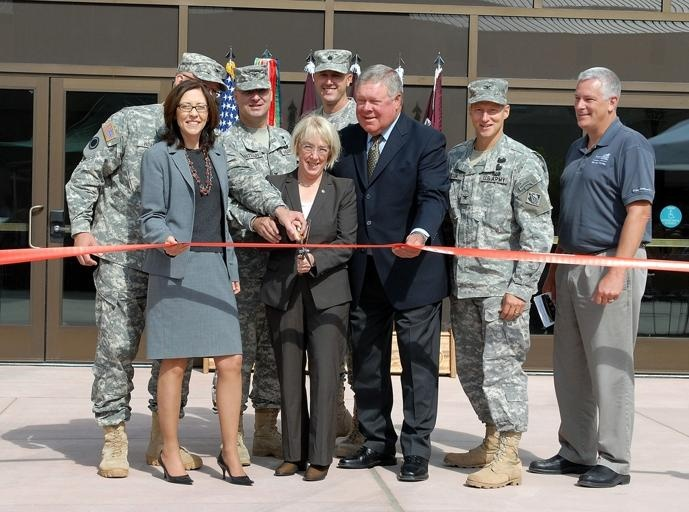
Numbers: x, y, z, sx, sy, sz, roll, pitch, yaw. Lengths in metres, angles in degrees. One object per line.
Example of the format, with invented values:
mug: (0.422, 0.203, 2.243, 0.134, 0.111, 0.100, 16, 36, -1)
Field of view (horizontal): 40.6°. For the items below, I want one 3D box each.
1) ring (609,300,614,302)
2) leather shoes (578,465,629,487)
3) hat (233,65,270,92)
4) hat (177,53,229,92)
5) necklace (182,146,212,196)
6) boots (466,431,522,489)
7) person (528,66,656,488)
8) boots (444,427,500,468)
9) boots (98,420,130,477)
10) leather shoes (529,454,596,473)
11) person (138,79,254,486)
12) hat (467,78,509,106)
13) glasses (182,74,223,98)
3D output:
ring: (1.630, 0.279, 5.719, 0.022, 0.009, 0.027, 1, 7, 6)
leather shoes: (1.582, 1.357, 5.734, 0.338, 0.089, 0.118, 7, -15, -24)
hat: (-0.602, -1.156, 6.069, 0.321, 0.113, 0.424, -2, 14, -7)
hat: (-0.925, -1.154, 5.867, 0.309, 0.140, 0.233, 7, -6, 44)
necklace: (-0.894, -0.501, 5.674, 0.179, 0.247, 0.064, 0, -17, -33)
boots: (0.931, 1.263, 5.754, 0.359, 0.312, 0.159, -3, 5, -29)
person: (1.565, 0.119, 5.848, 0.650, 2.578, 0.541, 3, 6, 37)
boots: (0.752, 1.277, 6.148, 0.501, 0.260, 0.172, 2, 2, 1)
boots: (-1.444, 1.195, 5.805, 0.184, 0.312, 0.269, -2, 5, -15)
leather shoes: (1.419, 1.356, 6.061, 0.426, 0.154, 0.129, 3, -8, -1)
person: (-0.907, 0.161, 5.639, 0.615, 2.435, 0.395, -1, 5, -11)
hat: (0.906, -1.030, 5.895, 0.237, 0.162, 0.179, 0, 5, 1)
glasses: (-0.879, -1.066, 5.822, 0.175, 0.042, 0.159, 11, 2, 13)
